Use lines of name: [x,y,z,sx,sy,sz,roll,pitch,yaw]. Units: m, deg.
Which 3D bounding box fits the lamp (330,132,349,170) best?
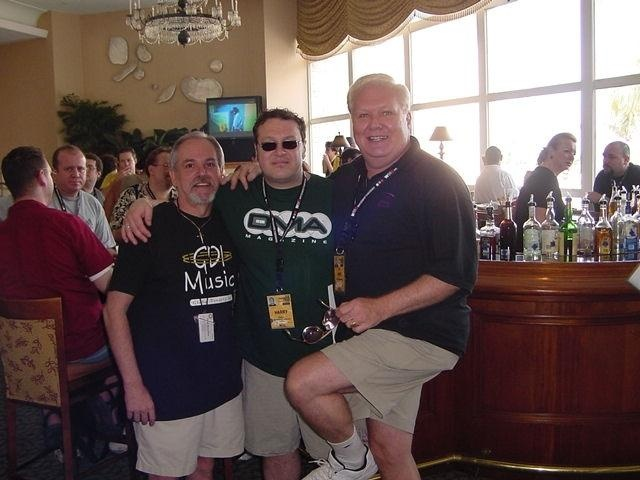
lamp: [0.284,-1.471,8.024,0.243,0.586,0.261,-15,29,-38]
